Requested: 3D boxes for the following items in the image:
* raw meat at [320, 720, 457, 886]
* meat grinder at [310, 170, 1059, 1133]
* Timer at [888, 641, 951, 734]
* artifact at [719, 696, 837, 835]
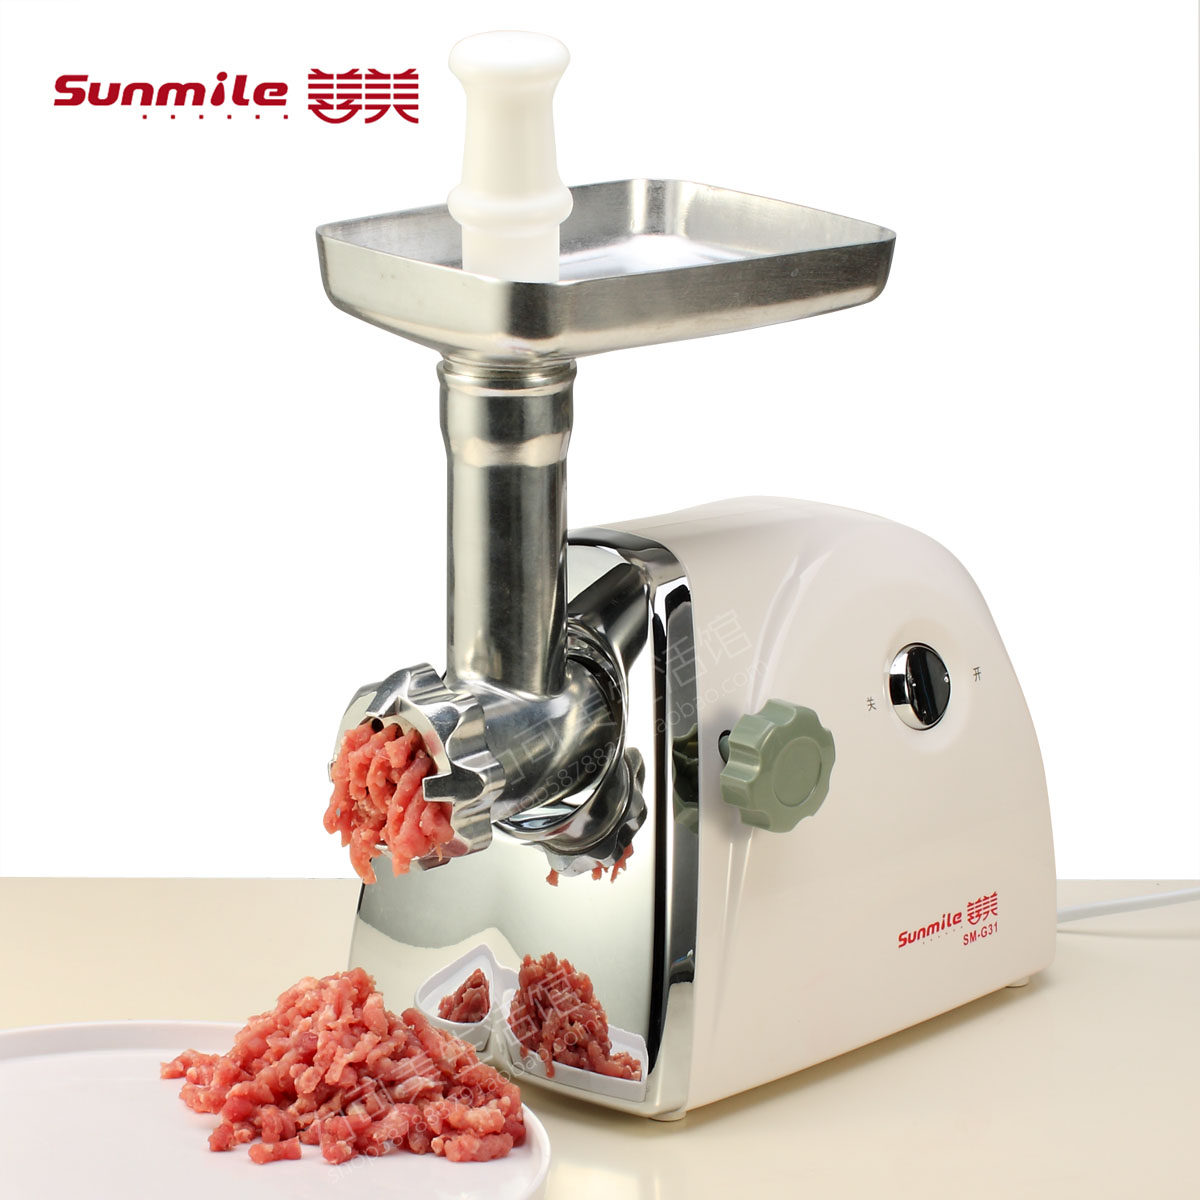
[{"bbox_3d":[-0.130,0.108,0.797,0.034,0.054,0.077,23,-38,-36],"label":"raw meat"},{"bbox_3d":[0.047,0.031,1.034,0.520,0.522,0.390,-9,11,-38],"label":"meat grinder"},{"bbox_3d":[0.221,0.062,1.005,0.027,0.071,0.072,2,4,44],"label":"Timer"},{"bbox_3d":[0.105,0.101,0.878,0.090,0.075,0.029,-15,16,-38],"label":"artifact"}]
